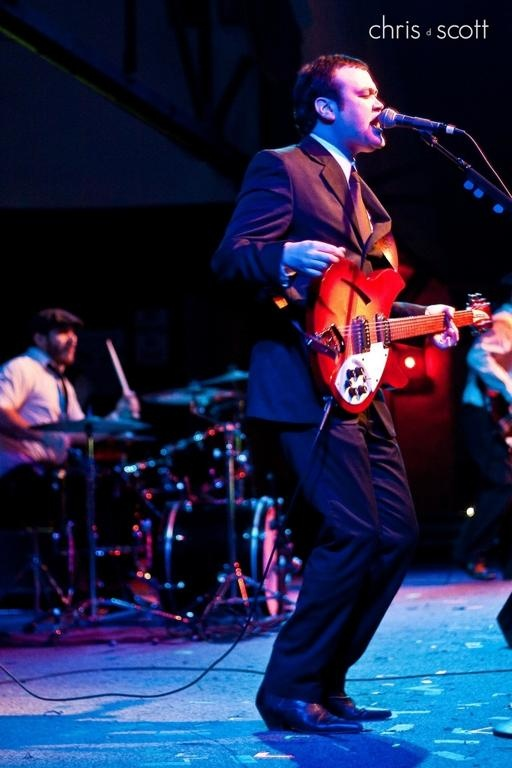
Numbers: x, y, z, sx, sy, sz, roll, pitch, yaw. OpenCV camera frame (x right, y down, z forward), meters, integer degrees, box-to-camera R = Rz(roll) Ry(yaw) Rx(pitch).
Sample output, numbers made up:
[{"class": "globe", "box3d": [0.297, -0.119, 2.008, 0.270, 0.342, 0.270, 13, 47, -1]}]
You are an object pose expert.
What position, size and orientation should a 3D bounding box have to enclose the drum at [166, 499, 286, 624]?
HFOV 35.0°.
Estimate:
[{"class": "drum", "box3d": [-0.156, 0.979, 4.761, 0.651, 0.800, 0.809, 0, -36, -1]}]
